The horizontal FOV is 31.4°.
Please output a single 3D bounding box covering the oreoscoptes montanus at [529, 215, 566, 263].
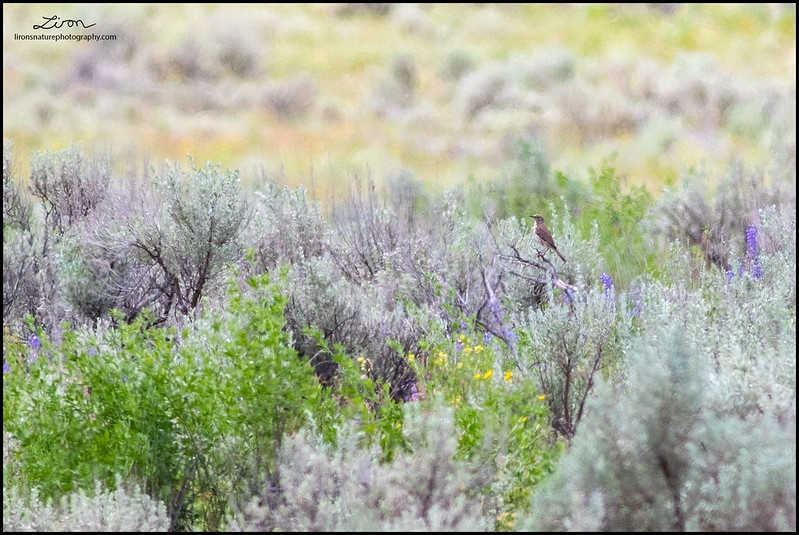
[{"bbox_3d":[1.571,-0.340,14.714,0.169,0.405,0.518,-11,21,-33],"label":"oreoscoptes montanus"}]
